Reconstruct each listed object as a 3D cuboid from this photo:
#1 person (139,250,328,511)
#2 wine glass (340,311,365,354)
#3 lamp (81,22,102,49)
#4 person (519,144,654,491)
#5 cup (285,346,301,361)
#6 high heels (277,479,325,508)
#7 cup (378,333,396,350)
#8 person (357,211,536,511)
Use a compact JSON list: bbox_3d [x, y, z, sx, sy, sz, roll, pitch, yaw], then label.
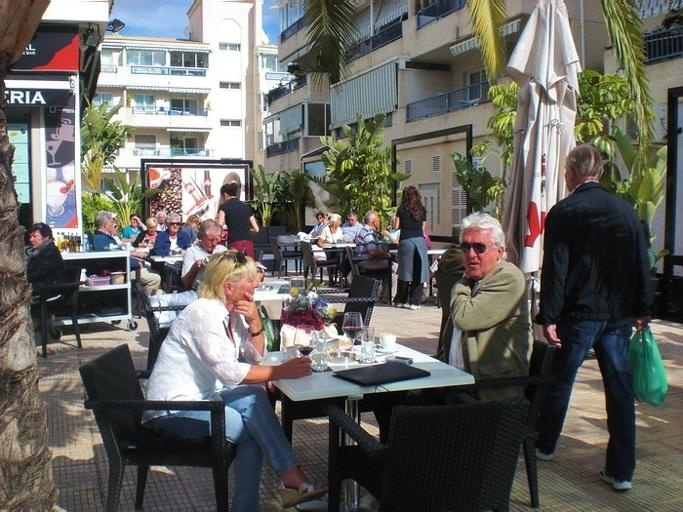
[{"bbox_3d":[-0.784,0.835,5.080,1.124,1.721,0.729,0,2,-8],"label":"person"},{"bbox_3d":[0.089,0.538,5.400,0.140,0.270,0.295,0,2,2],"label":"wine glass"},{"bbox_3d":[-4.321,-3.795,12.865,0.254,0.324,0.386,-7,3,-11],"label":"lamp"},{"bbox_3d":[1.832,0.437,5.389,0.775,2.496,0.386,1,2,18],"label":"person"},{"bbox_3d":[-0.346,0.697,5.281,0.085,0.095,0.090,1,-3,0],"label":"cup"},{"bbox_3d":[-0.270,1.549,4.910,0.275,0.124,0.157,-13,-16,9],"label":"high heels"},{"bbox_3d":[0.349,0.636,5.510,0.100,0.094,0.099,-4,7,0],"label":"cup"},{"bbox_3d":[0.917,0.395,5.487,0.984,1.427,0.625,1,2,15],"label":"person"}]
